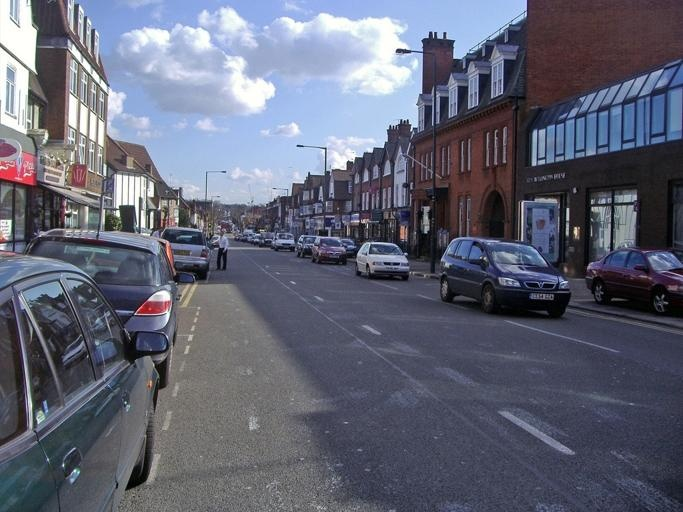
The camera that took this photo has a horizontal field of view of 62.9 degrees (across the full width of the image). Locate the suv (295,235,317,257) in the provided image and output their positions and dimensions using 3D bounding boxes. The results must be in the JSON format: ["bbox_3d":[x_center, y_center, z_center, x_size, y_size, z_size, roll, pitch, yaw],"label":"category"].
[{"bbox_3d":[-3.176,-0.846,49.935,1.081,1.316,2.262,0,-3,-14],"label":"suv"}]

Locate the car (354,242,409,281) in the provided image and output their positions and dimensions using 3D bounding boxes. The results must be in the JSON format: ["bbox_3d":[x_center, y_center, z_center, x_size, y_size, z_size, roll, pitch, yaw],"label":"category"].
[{"bbox_3d":[2.066,0.237,27.546,1.916,1.738,2.755,0,3,-22],"label":"car"}]

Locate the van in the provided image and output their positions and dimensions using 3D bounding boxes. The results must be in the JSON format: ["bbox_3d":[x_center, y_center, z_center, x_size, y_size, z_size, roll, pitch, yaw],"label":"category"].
[{"bbox_3d":[4.417,0.560,16.235,1.738,1.791,3.817,2,-4,-15],"label":"van"}]

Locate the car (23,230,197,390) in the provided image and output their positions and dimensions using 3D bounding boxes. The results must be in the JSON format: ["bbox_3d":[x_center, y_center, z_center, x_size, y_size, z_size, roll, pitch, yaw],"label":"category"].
[{"bbox_3d":[-2.901,0.509,8.053,1.453,1.562,2.779,2,4,-2],"label":"car"}]

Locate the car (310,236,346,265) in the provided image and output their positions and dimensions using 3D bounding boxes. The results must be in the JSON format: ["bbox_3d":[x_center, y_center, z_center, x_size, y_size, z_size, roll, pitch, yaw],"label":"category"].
[{"bbox_3d":[-1.058,-0.419,41.182,1.264,1.467,2.826,1,-5,-10],"label":"car"}]
